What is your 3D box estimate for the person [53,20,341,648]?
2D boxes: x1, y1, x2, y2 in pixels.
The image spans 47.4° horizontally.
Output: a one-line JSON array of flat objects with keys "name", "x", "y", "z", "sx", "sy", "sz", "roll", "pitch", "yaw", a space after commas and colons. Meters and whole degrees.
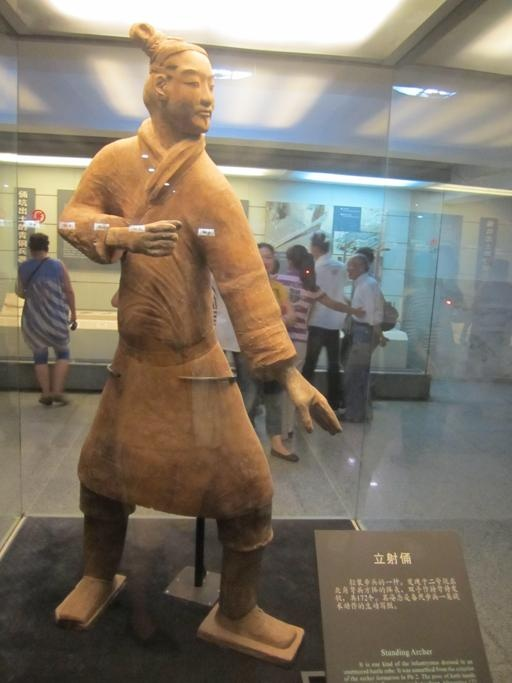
[{"name": "person", "x": -0.196, "y": 0.003, "z": 1.665, "sx": 0.915, "sy": 1.736, "sz": 0.462, "roll": 4, "pitch": 7, "yaw": 17}]
